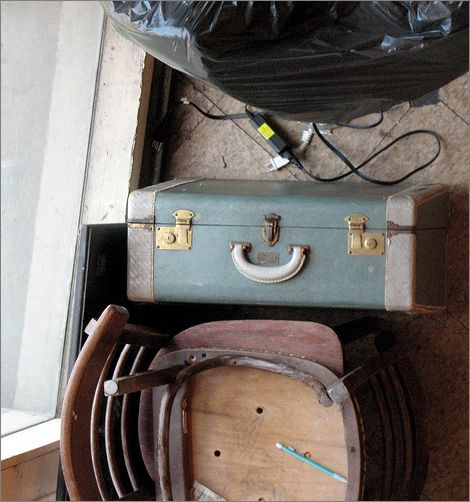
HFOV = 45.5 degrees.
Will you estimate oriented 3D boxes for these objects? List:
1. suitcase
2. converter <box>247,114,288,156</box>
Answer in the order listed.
[{"bbox_3d":[0.102,-0.018,1.266,0.602,0.228,0.347,2,8,11],"label":"suitcase"},{"bbox_3d":[0.098,-0.335,1.656,0.049,0.208,0.042,-42,-13,-4],"label":"converter"}]
